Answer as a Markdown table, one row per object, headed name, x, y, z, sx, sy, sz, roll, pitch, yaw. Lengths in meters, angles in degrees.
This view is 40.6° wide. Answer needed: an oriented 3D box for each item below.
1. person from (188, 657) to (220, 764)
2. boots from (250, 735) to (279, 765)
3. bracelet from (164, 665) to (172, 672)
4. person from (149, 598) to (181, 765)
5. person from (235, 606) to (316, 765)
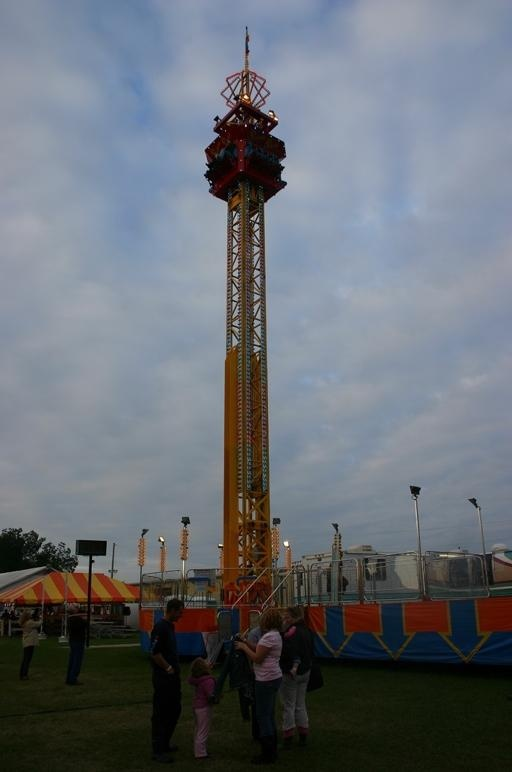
| name | x | y | z | sx | sy | sz | roll | pitch | yaw |
| --- | --- | --- | --- | --- | --- | --- | --- | --- | --- |
| person | -0.516 | 3.160 | 6.828 | 0.248 | 0.903 | 0.211 | -4 | -12 | -4 |
| boots | 0.074 | 3.409 | 6.505 | 0.225 | 0.259 | 0.176 | -3 | -12 | -7 |
| bracelet | -0.862 | 2.751 | 6.763 | 0.048 | 0.069 | 0.067 | 1 | -13 | -17 |
| person | -0.877 | 2.878 | 6.845 | 0.369 | 1.472 | 0.450 | 0 | -13 | -21 |
| person | 0.220 | 2.939 | 6.908 | 0.589 | 1.454 | 1.371 | -7 | -12 | 10 |
